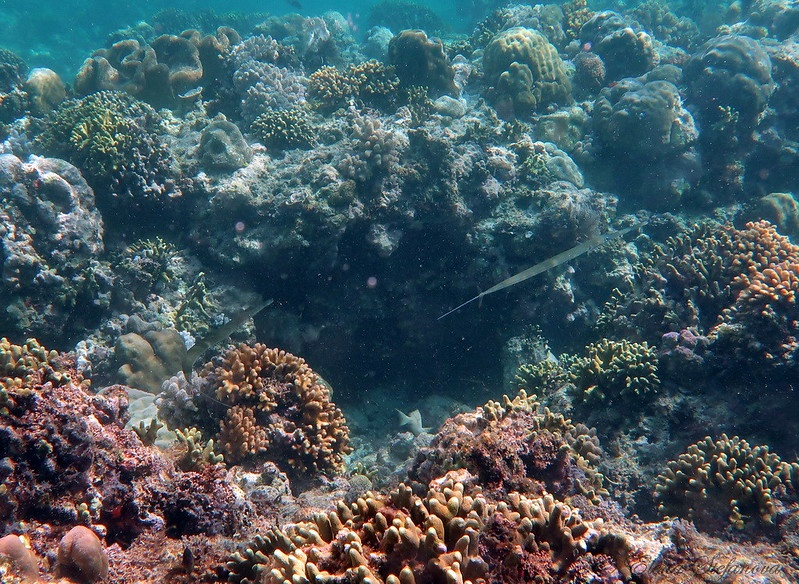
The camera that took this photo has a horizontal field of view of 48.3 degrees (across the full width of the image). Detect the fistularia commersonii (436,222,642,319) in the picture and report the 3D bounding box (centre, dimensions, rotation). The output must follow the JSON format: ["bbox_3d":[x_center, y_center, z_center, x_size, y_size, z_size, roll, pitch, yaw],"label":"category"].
[{"bbox_3d":[3.392,-0.532,22.797,4.039,0.445,0.291,-31,33,0],"label":"fistularia commersonii"}]
